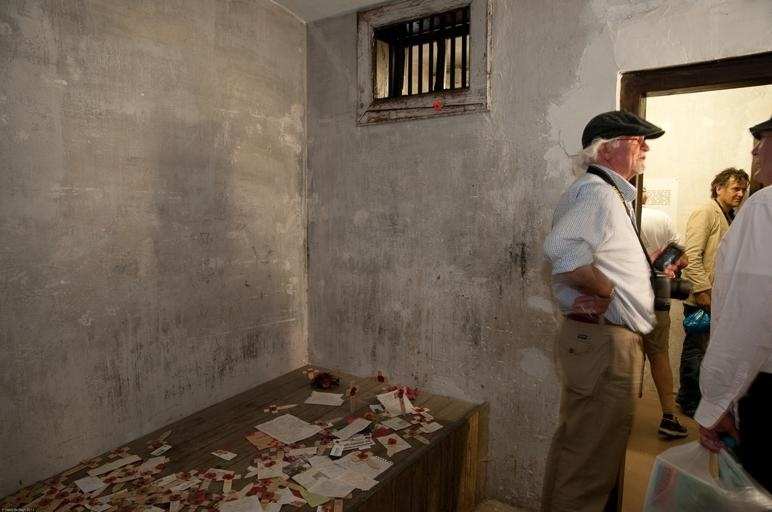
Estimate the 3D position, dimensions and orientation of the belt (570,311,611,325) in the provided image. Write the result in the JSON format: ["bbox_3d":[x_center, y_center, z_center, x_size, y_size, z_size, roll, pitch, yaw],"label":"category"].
[{"bbox_3d":[1.282,0.380,3.575,0.299,0.066,0.087,-1,13,37],"label":"belt"}]

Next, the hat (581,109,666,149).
[{"bbox_3d":[1.524,-0.820,3.589,0.369,0.176,0.264,-19,7,27],"label":"hat"}]

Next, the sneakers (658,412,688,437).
[{"bbox_3d":[2.542,1.480,4.955,0.303,0.198,0.142,-2,5,-31],"label":"sneakers"}]
